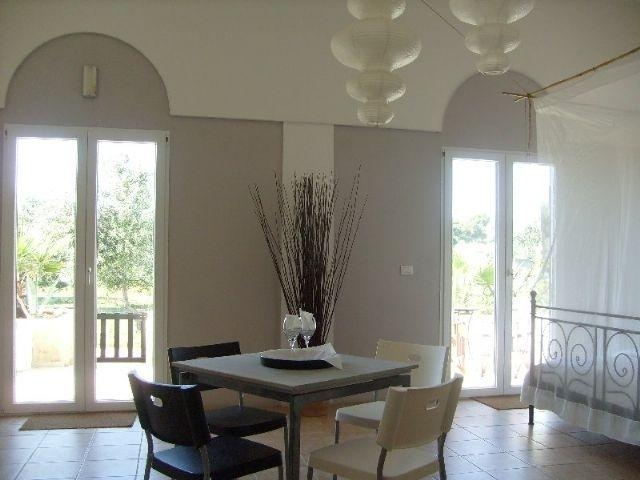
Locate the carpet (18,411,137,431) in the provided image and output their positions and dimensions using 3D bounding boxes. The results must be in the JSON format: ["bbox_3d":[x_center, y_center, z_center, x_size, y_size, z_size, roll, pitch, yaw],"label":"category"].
[{"bbox_3d":[-2.286,1.724,5.058,1.042,0.043,0.432,2,-1,-7],"label":"carpet"}]

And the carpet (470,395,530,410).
[{"bbox_3d":[1.998,1.779,5.843,0.556,0.040,0.517,2,-1,0],"label":"carpet"}]
